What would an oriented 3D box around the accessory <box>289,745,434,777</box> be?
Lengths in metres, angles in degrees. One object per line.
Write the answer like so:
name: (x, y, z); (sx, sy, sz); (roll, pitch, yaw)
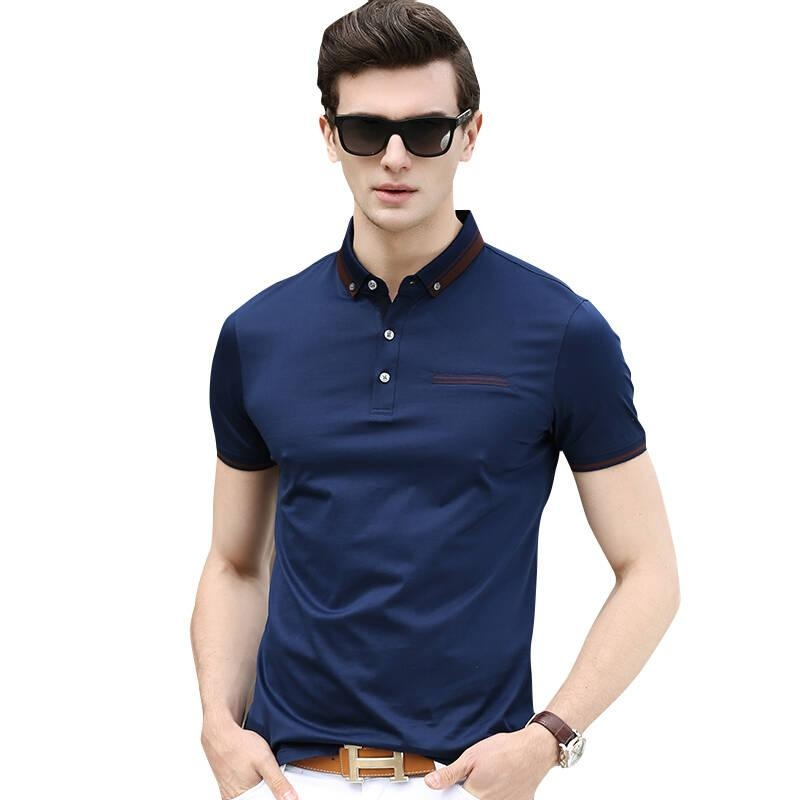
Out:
accessory: (-0.106, 1.118, 2.767); (0.249, 0.051, 0.159); (0, -2, 5)
